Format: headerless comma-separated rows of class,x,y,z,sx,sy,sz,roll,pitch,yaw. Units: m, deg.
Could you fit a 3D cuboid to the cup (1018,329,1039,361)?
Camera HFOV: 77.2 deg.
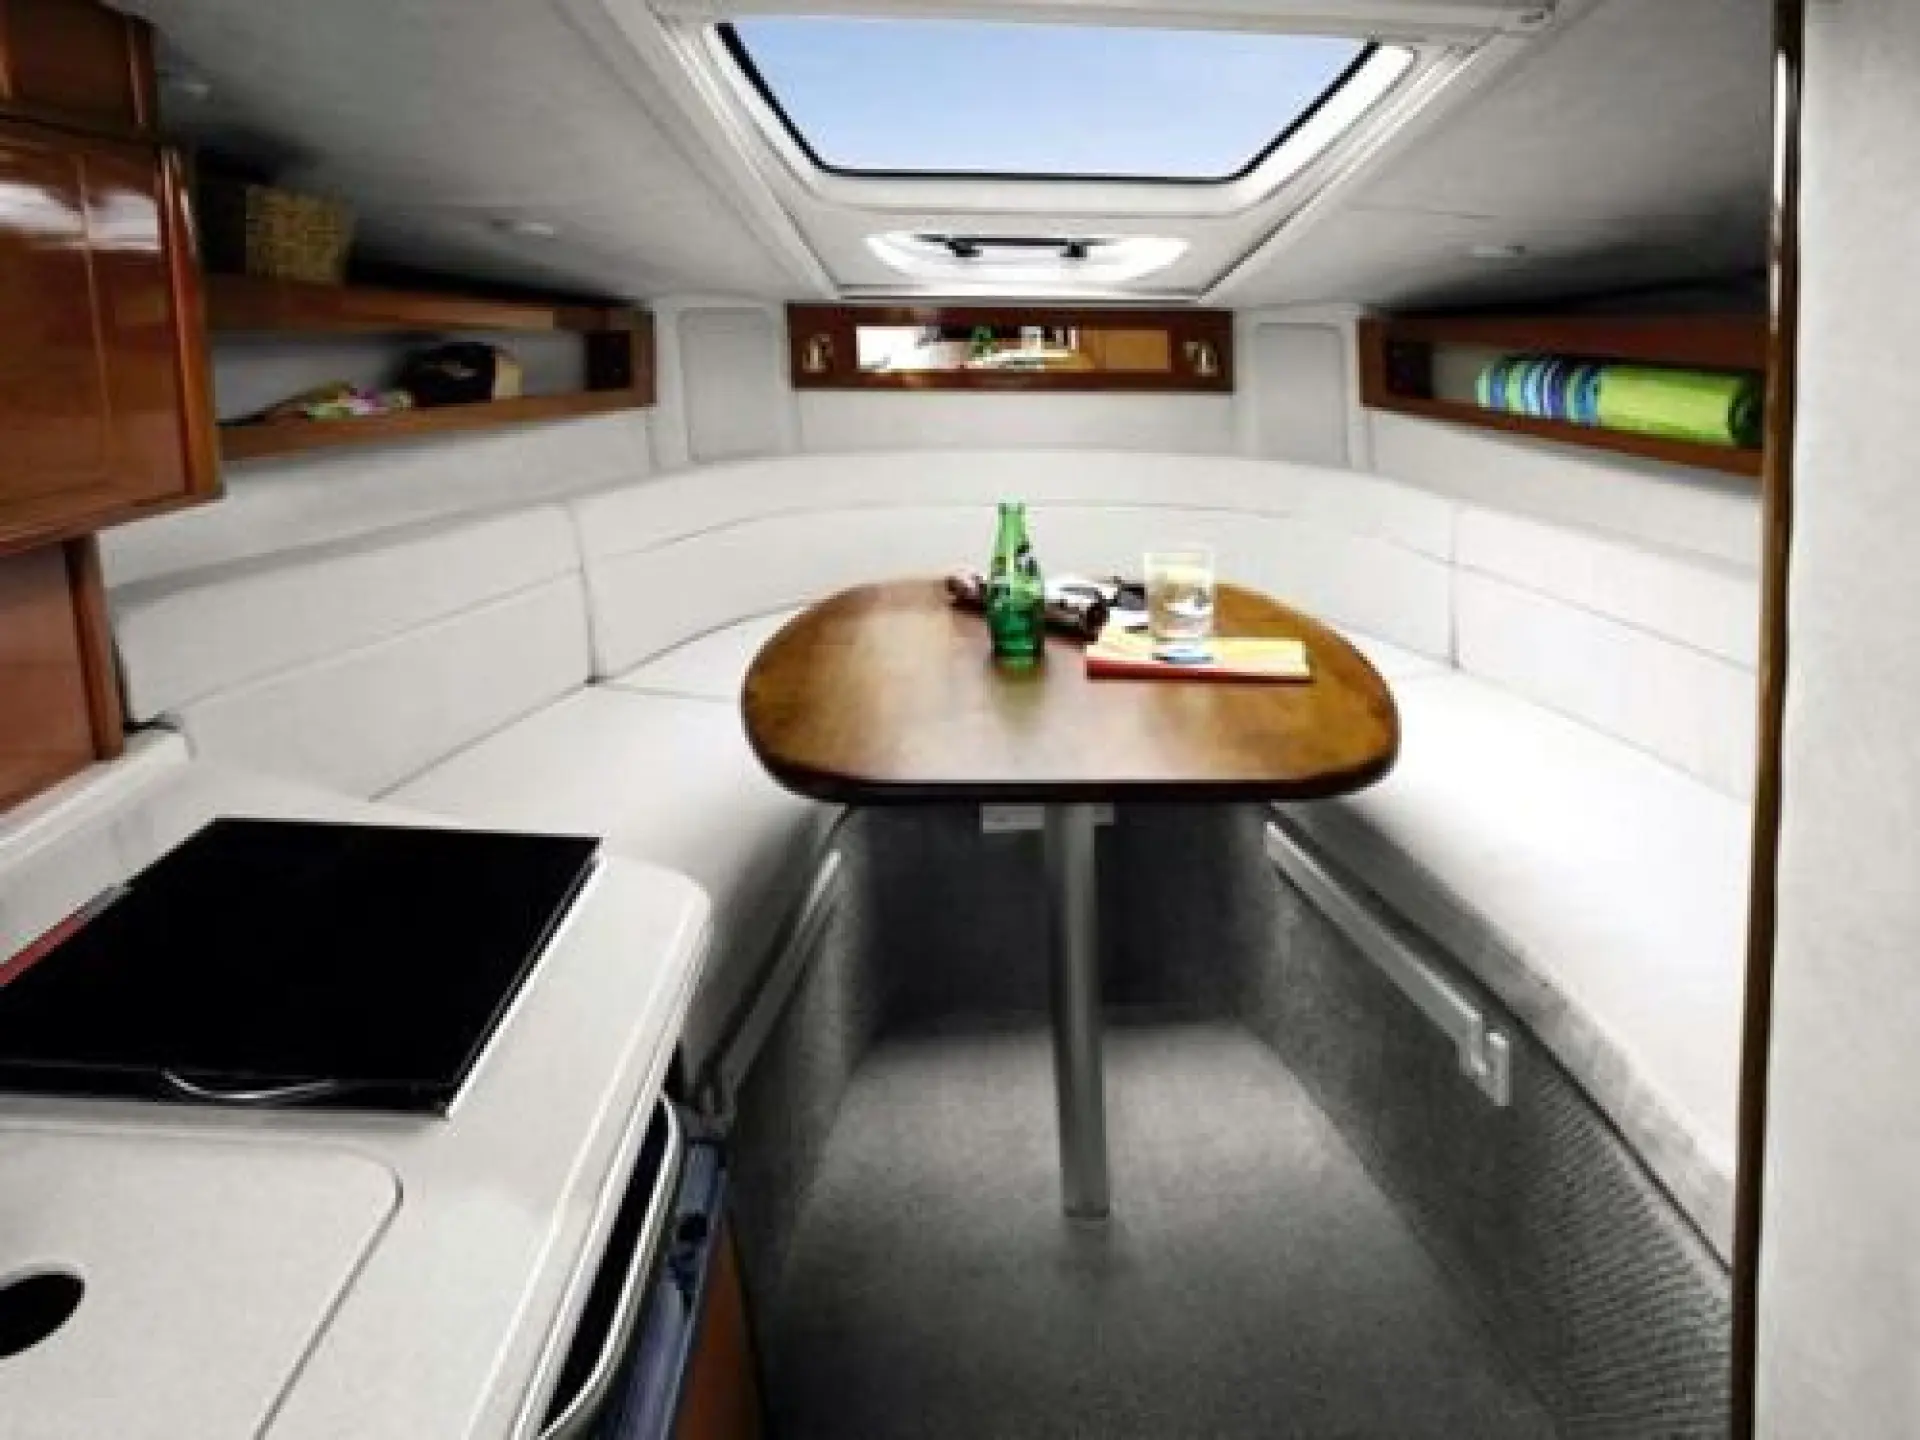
cup,0.205,-1.132,3.601,0.064,0.093,0.064,3,6,0

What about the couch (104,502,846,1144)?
couch,-0.628,0.106,1.559,0.376,0.405,1.165,7,16,6

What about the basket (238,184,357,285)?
basket,-1.094,-0.791,1.979,0.053,0.139,0.215,7,14,15

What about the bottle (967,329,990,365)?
bottle,0.055,-1.120,3.585,0.058,0.087,0.019,4,13,5
